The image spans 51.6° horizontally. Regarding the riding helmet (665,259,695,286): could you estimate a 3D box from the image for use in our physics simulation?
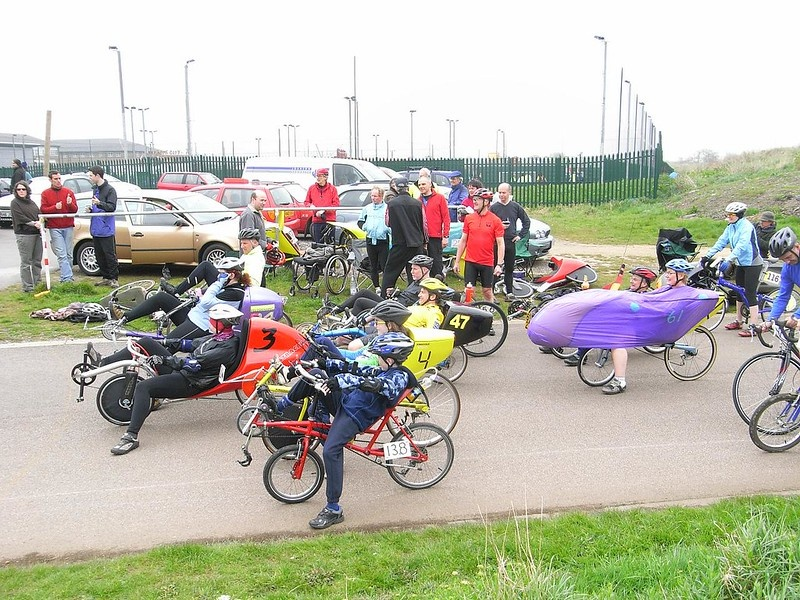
[{"bbox_3d":[3.888,-0.364,11.472,0.400,0.376,0.308,13,1,-1],"label":"riding helmet"}]

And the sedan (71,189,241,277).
[{"bbox_3d":[-5.155,-1.574,18.571,4.410,1.865,2.202,2,15,11],"label":"sedan"}]

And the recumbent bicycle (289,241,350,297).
[{"bbox_3d":[-1.626,-0.640,16.296,1.068,1.139,1.030,1,15,-21],"label":"recumbent bicycle"}]

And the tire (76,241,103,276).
[{"bbox_3d":[-6.569,-0.896,17.470,0.581,0.585,0.211,20,18,6],"label":"tire"}]

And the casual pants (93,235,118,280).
[{"bbox_3d":[-5.927,-0.910,16.576,0.418,1.098,0.322,7,18,17],"label":"casual pants"}]

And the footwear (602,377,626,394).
[{"bbox_3d":[2.815,1.160,11.102,0.425,0.202,0.149,-4,11,-17],"label":"footwear"}]

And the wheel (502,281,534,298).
[{"bbox_3d":[2.004,-0.157,13.734,0.406,0.223,0.262,17,34,30],"label":"wheel"}]

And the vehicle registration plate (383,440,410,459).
[{"bbox_3d":[-0.032,1.545,8.435,0.197,0.135,0.026,-2,3,-10],"label":"vehicle registration plate"}]

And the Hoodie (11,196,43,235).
[{"bbox_3d":[-7.214,-1.607,15.905,0.493,0.723,0.393,-6,9,-23],"label":"Hoodie"}]

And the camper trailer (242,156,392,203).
[{"bbox_3d":[-3.041,-3.547,27.425,5.288,2.033,2.160,0,14,10],"label":"camper trailer"}]

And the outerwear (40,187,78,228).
[{"bbox_3d":[-6.734,-1.795,16.320,0.663,0.861,0.493,-8,14,-37],"label":"outerwear"}]
